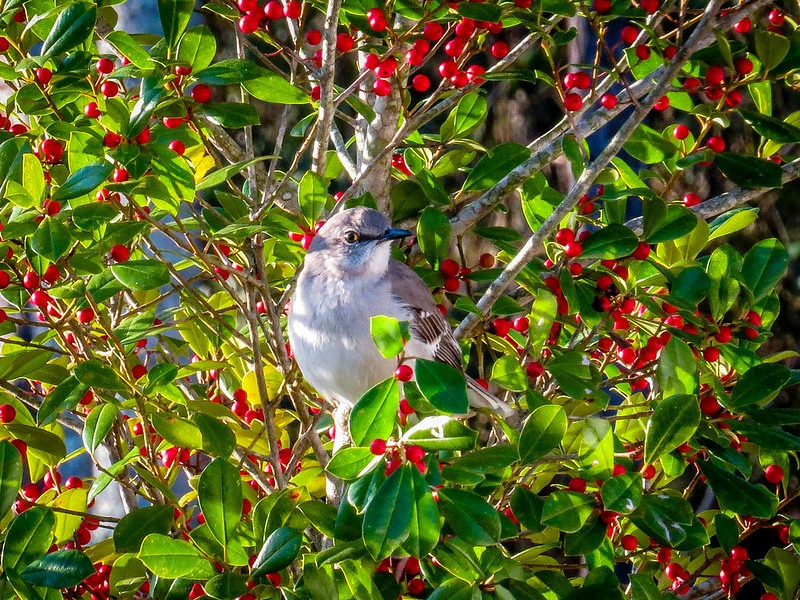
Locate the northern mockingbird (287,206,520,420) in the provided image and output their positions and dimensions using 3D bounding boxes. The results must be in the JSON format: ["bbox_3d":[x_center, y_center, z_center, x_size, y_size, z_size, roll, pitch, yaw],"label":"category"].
[{"bbox_3d":[0.024,0.103,5.728,1.056,1.015,0.611,-5,5,-38],"label":"northern mockingbird"}]
